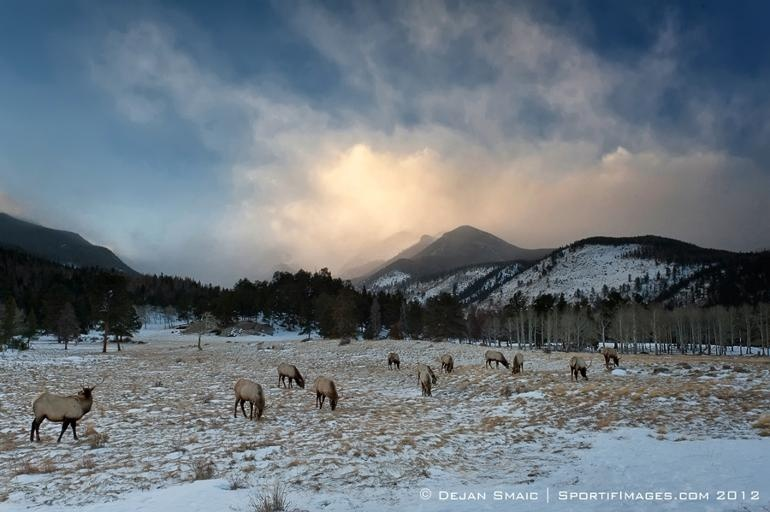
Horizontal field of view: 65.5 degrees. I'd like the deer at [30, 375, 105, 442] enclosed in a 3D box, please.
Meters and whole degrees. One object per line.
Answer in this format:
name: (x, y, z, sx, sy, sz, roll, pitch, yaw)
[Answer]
deer: (-23.581, 11.516, 44.125, 4.352, 4.437, 1.605, 5, -4, -26)
